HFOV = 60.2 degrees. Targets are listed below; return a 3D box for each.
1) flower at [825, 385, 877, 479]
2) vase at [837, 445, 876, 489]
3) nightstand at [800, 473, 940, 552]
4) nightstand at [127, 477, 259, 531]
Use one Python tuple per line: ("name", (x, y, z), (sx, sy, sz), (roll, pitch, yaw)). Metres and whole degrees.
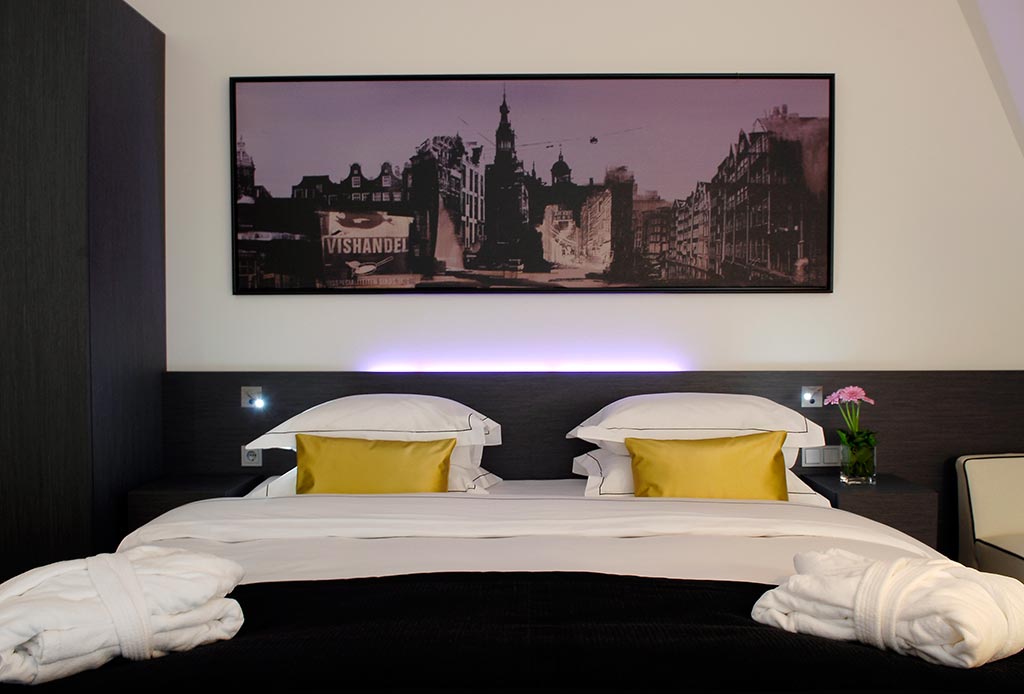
("flower", (1.815, 0.472, 4.681), (0.227, 0.497, 0.274), (-2, -7, -3))
("vase", (1.811, 0.632, 4.600), (0.188, 0.185, 0.176), (2, -3, -27))
("nightstand", (1.869, 0.789, 4.573), (0.538, 0.553, 0.372), (0, 3, 3))
("nightstand", (-1.723, 0.770, 4.630), (0.250, 0.220, 0.477), (0, 0, 5))
